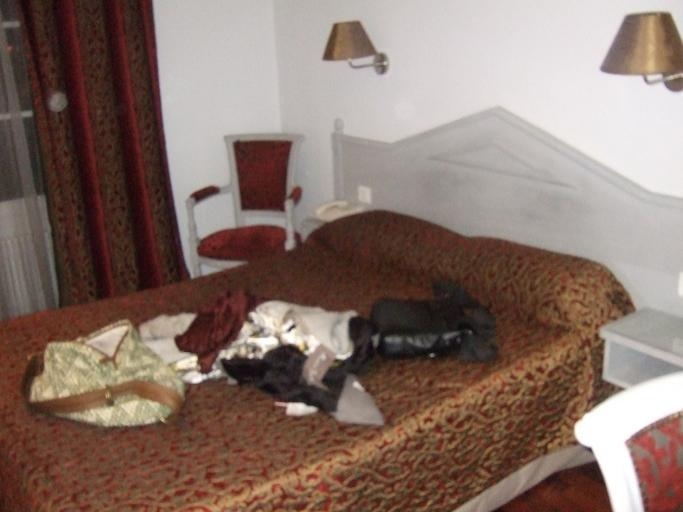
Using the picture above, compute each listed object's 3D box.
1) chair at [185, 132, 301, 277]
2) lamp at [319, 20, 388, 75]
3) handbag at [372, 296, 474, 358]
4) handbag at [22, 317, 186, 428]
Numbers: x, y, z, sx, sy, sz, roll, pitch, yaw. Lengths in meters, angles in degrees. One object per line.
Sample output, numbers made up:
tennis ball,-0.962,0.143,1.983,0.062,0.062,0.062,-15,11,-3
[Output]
chair,-0.852,-0.476,4.841,0.936,1.433,0.912,4,20,13
lamp,0.087,-1.538,4.202,0.531,0.338,0.315,-6,21,-28
handbag,0.419,0.366,3.021,0.359,0.116,0.322,-5,20,-12
handbag,-1.073,0.558,2.609,0.620,0.272,0.430,11,18,12
